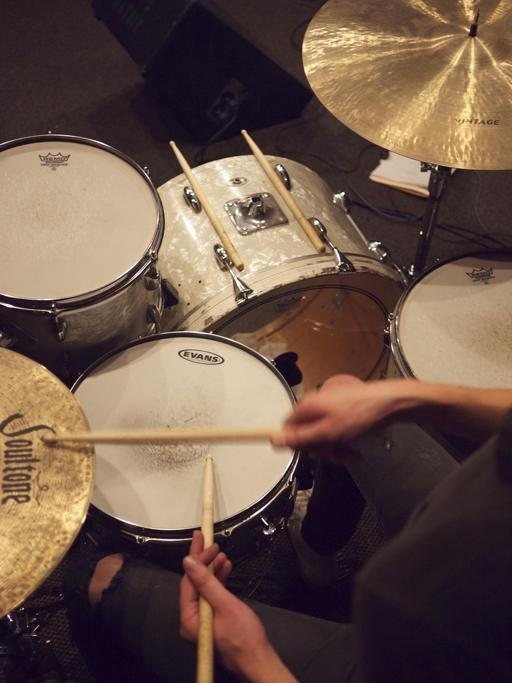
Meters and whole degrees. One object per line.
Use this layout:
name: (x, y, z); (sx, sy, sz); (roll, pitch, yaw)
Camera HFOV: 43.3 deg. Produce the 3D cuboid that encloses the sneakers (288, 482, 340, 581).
sneakers: (0.142, 0.396, 1.359); (0.051, 0.188, 0.117); (6, 1, -37)
